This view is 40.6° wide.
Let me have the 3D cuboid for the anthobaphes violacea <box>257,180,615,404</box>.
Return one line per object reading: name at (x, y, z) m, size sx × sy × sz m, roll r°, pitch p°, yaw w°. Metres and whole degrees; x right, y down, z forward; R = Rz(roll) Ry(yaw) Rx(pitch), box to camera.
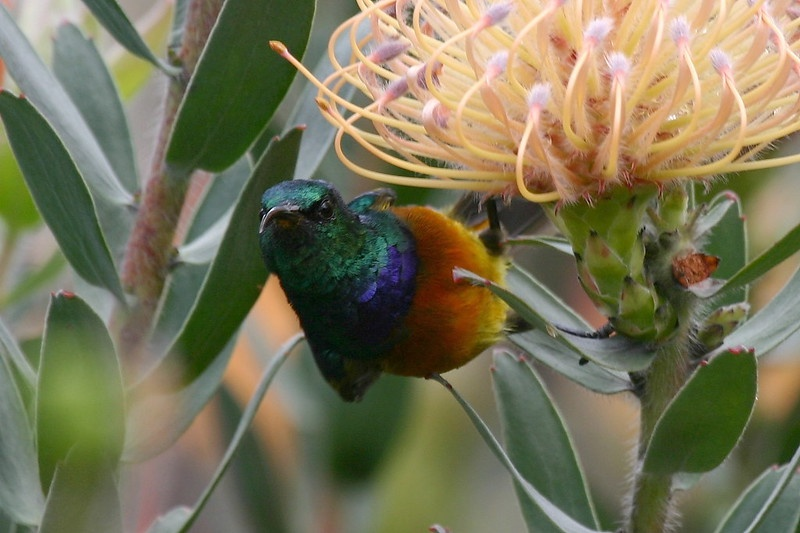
anthobaphes violacea at (0.023, -0.042, 1.640) m, size 0.238 × 0.259 × 0.419 m, roll -18°, pitch 25°, yaw 40°
